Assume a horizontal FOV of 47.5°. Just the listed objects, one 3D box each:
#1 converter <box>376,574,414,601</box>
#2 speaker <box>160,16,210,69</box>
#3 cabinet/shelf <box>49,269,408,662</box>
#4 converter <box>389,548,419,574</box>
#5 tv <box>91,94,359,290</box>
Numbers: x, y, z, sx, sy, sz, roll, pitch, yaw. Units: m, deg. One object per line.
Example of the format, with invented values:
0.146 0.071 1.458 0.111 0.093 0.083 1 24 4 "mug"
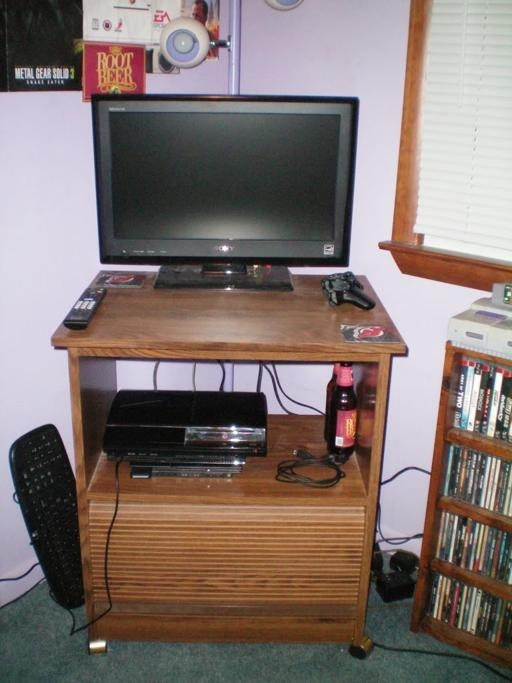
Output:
0.392 0.686 1.625 0.112 0.074 0.064 -4 14 -9 "converter"
-0.161 -0.679 1.323 0.113 0.098 0.053 -3 23 -6 "speaker"
-0.070 0.324 1.496 0.752 0.824 0.471 0 22 -5 "cabinet/shelf"
0.434 0.641 1.700 0.100 0.067 0.054 -1 -5 5 "converter"
-0.079 -0.373 1.409 0.508 0.374 0.163 1 32 0 "tv"
